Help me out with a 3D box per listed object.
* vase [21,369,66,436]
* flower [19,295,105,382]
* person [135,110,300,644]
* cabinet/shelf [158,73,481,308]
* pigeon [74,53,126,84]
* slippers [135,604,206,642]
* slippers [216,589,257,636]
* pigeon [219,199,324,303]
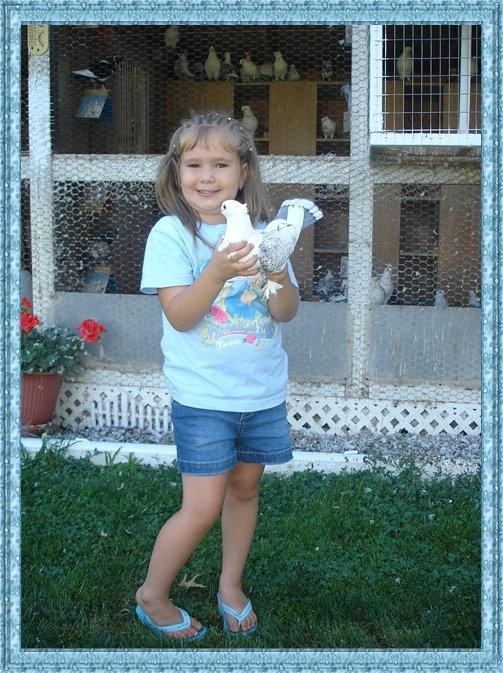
[{"bbox_3d":[-1.080,0.338,3.922,0.114,0.321,0.326,3,10,16],"label":"vase"},{"bbox_3d":[-1.011,0.026,4.103,0.558,0.350,0.524,2,10,-14],"label":"flower"},{"bbox_3d":[-0.093,0.093,1.979,0.480,1.277,0.482,-1,2,-27],"label":"person"},{"bbox_3d":[0.452,-0.643,3.464,1.762,1.474,0.569,0,6,7],"label":"cabinet/shelf"},{"bbox_3d":[-0.934,-1.658,4.710,0.305,0.180,0.322,-2,10,-13],"label":"pigeon"},{"bbox_3d":[-0.206,0.753,2.008,0.158,0.031,0.079,7,10,34],"label":"slippers"},{"bbox_3d":[-0.039,0.733,2.057,0.090,0.068,0.182,-4,9,-19],"label":"slippers"},{"bbox_3d":[0.047,-0.235,1.819,0.138,0.187,0.371,5,10,23],"label":"pigeon"}]
